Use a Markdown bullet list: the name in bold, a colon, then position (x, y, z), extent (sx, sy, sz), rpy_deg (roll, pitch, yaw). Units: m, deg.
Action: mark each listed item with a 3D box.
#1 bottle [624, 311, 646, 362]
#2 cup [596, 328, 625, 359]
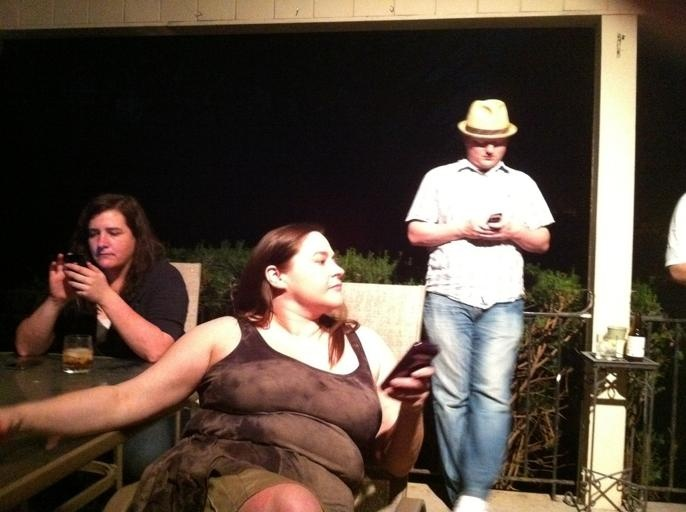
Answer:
- **bottle**: position (1.501, 0.409, 3.465), extent (0.100, 0.254, 0.194), rpy_deg (4, 1, 24)
- **cup**: position (1.366, 0.437, 3.434), extent (0.163, 0.162, 0.132), rpy_deg (0, -3, 21)
